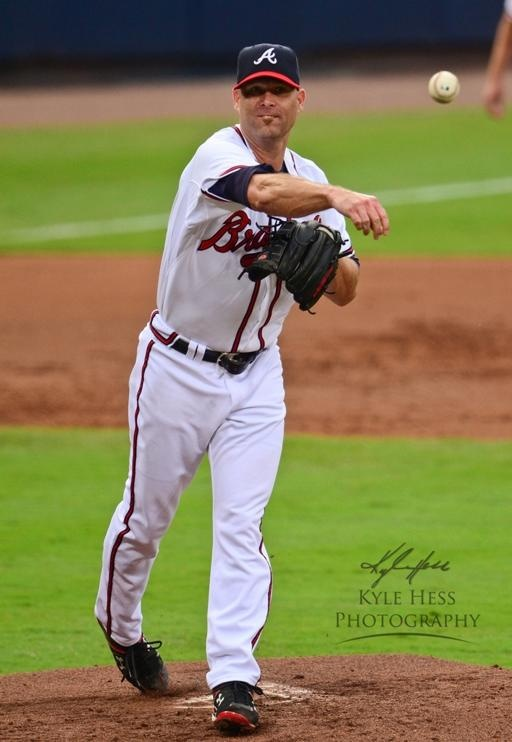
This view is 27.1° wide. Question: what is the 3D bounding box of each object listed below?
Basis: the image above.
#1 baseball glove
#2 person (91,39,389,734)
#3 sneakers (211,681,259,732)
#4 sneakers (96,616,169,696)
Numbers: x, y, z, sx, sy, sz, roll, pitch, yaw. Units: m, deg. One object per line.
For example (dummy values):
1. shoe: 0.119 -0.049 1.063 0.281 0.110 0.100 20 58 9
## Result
1. baseball glove: 0.120 -0.284 3.000 0.207 0.268 0.125 32 -29 15
2. person: -0.004 0.011 3.181 0.597 2.009 1.134 0 -2 -33
3. sneakers: -0.052 0.920 2.911 0.126 0.124 0.154 -1 -2 -1
4. sneakers: -0.377 0.916 3.451 0.105 0.117 0.300 -7 25 -37
